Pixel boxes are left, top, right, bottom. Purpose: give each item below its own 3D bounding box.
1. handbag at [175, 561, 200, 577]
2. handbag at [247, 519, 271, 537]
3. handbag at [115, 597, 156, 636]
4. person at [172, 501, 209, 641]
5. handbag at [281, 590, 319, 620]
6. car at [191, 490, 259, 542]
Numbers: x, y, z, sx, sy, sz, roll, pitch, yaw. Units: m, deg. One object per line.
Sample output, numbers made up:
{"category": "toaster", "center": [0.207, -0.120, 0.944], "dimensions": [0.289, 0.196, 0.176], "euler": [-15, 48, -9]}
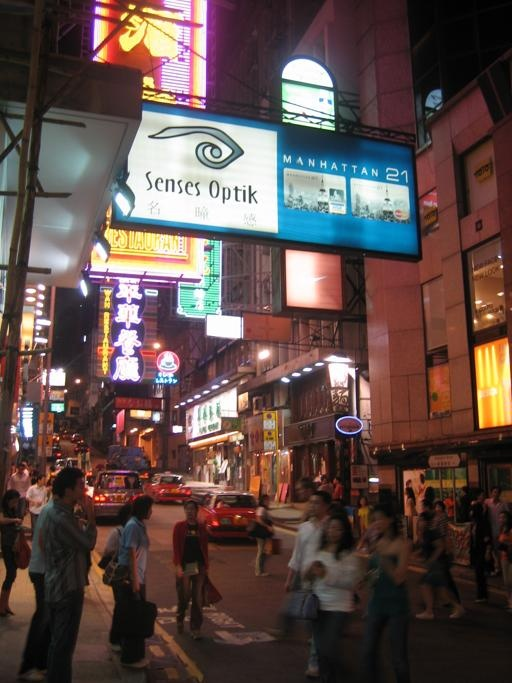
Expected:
{"category": "handbag", "center": [-0.802, 2.715, 7.867], "dimensions": [0.180, 0.160, 0.075], "euler": [3, -1, -14]}
{"category": "handbag", "center": [0.097, 3.680, 13.072], "dimensions": [0.394, 0.306, 0.511], "euler": [-3, -12, 28]}
{"category": "handbag", "center": [-1.015, 2.352, 5.603], "dimensions": [0.324, 0.316, 0.187], "euler": [1, -10, -7]}
{"category": "person", "center": [-0.803, 2.765, 8.077], "dimensions": [0.415, 1.557, 0.604], "euler": [1, -10, -7]}
{"category": "handbag", "center": [0.344, 2.002, 5.049], "dimensions": [0.200, 0.185, 0.273], "euler": [3, -11, -20]}
{"category": "car", "center": [-0.759, 4.753, 18.293], "dimensions": [1.367, 1.220, 3.469], "euler": [1, -4, -11]}
